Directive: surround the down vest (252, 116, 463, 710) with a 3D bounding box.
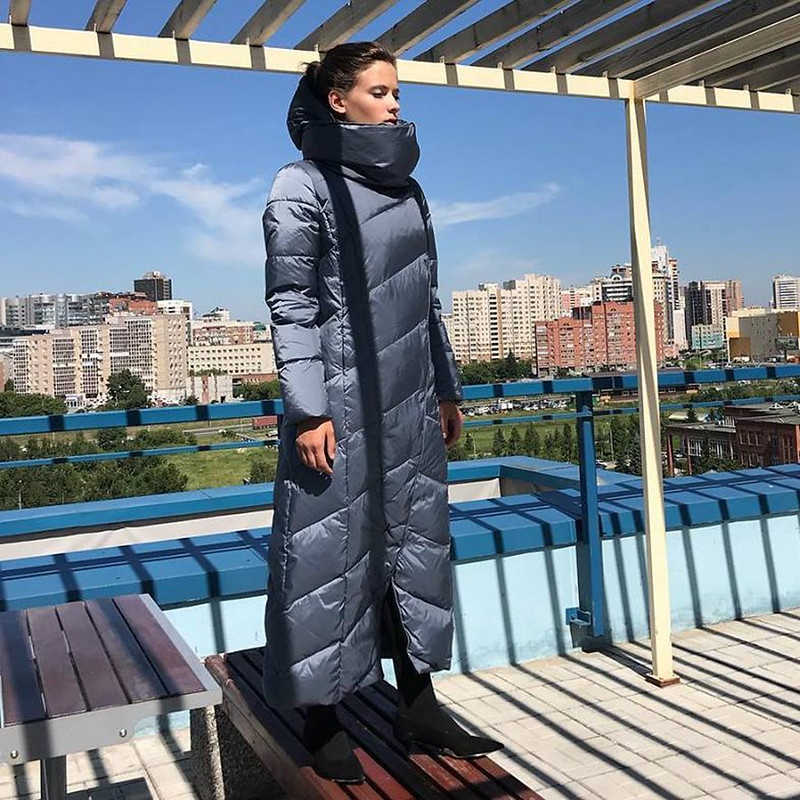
[{"bbox_3d":[-0.065,0.008,1.143,0.318,0.945,0.145,-1,1,-32],"label":"down vest"}]

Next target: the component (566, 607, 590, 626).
[{"bbox_3d":[0.656,0.798,2.519,0.049,0.067,0.089,-1,1,-27],"label":"component"}]
